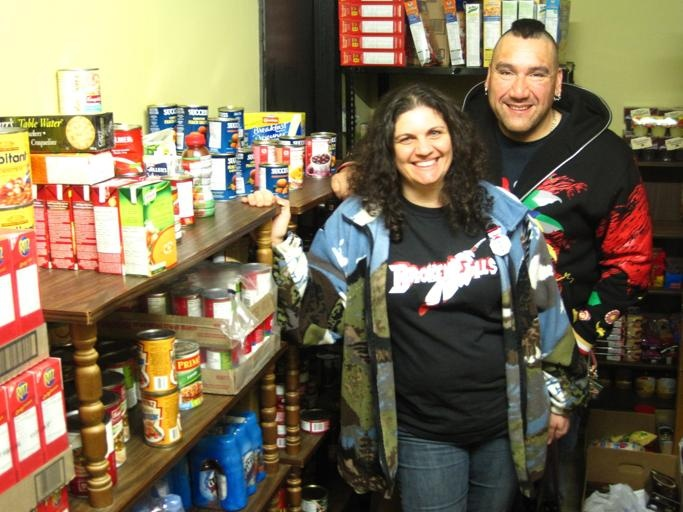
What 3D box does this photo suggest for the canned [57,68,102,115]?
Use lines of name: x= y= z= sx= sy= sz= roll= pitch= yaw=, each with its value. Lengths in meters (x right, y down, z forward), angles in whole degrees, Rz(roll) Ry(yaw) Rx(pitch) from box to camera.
canned: x=-0.573 y=-0.359 z=1.278 sx=0.090 sy=0.098 sz=0.095 roll=-8 pitch=15 yaw=-22
